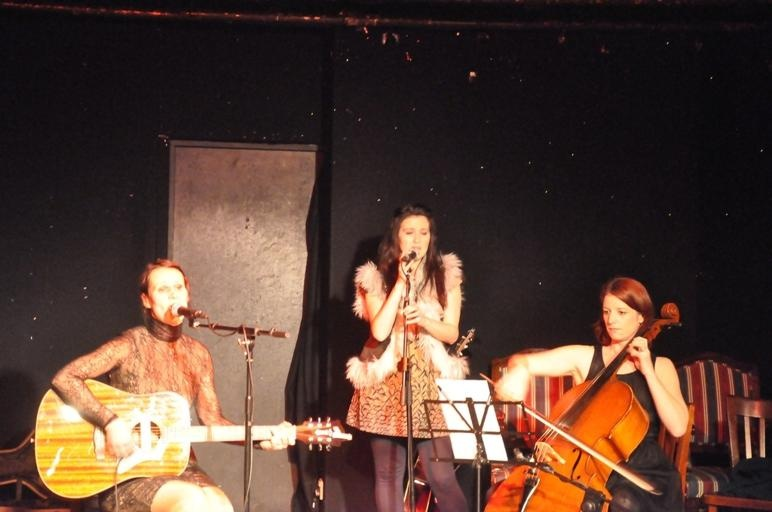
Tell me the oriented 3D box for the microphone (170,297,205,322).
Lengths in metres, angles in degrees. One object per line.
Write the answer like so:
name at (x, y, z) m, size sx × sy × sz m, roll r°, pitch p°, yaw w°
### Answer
microphone at (-1.347, 0.383, 5.666) m, size 0.121 × 0.138 × 0.421 m, roll 12°, pitch -9°, yaw -41°
